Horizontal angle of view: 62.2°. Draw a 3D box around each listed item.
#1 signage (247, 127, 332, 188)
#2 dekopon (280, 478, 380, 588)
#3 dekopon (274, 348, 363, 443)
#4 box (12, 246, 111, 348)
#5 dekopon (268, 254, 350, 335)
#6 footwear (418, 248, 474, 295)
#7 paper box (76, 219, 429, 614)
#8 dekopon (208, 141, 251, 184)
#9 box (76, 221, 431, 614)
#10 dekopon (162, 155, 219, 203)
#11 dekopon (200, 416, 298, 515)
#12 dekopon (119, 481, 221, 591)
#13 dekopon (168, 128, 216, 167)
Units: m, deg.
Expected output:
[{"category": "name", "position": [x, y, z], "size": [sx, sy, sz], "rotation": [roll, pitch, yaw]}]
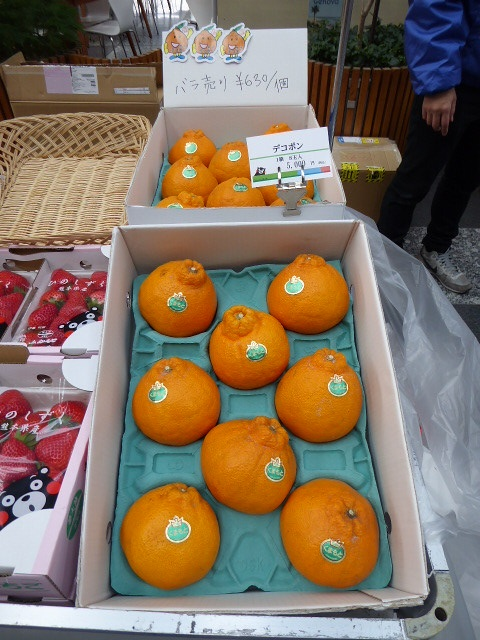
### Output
[{"category": "signage", "position": [0.114, -0.378, 0.910], "size": [0.185, 0.098, 0.067], "rotation": [-5, 42, -5]}, {"category": "dekopon", "position": [0.118, 0.305, 0.599], "size": [0.123, 0.116, 0.128], "rotation": [26, 42, -5]}, {"category": "dekopon", "position": [0.138, 0.140, 0.694], "size": [0.147, 0.155, 0.104], "rotation": [7, 43, 8]}, {"category": "box", "position": [-0.502, -0.018, 1.225], "size": [0.270, 0.108, 0.333], "rotation": [-5, 53, 9]}, {"category": "dekopon", "position": [0.144, -0.045, 0.882], "size": [0.159, 0.142, 0.156], "rotation": [-41, 49, -12]}, {"category": "footwear", "position": [1.052, -0.254, 2.114], "size": [0.113, 0.140, 0.328], "rotation": [-37, 76, -11]}, {"category": "paper box", "position": [0.022, 0.056, 0.660], "size": [0.467, 0.200, 0.673], "rotation": [-2, 54, -1]}, {"category": "dekopon", "position": [-0.027, -0.475, 1.286], "size": [0.125, 0.129, 0.131], "rotation": [18, 49, 10]}, {"category": "box", "position": [0.071, 0.133, 0.769], "size": [0.474, 0.203, 0.682], "rotation": [-2, 54, -1]}, {"category": "dekopon", "position": [-0.143, -0.409, 1.141], "size": [0.135, 0.136, 0.141], "rotation": [7, 32, 21]}, {"category": "dekopon", "position": [0.012, 0.222, 0.594], "size": [0.095, 0.102, 0.101], "rotation": [-22, 60, -35]}, {"category": "dekopon", "position": [-0.091, 0.292, 0.582], "size": [0.124, 0.099, 0.138], "rotation": [21, 84, 3]}, {"category": "dekopon", "position": [-0.153, -0.565, 1.352], "size": [0.134, 0.110, 0.135], "rotation": [-25, 44, -26]}]
